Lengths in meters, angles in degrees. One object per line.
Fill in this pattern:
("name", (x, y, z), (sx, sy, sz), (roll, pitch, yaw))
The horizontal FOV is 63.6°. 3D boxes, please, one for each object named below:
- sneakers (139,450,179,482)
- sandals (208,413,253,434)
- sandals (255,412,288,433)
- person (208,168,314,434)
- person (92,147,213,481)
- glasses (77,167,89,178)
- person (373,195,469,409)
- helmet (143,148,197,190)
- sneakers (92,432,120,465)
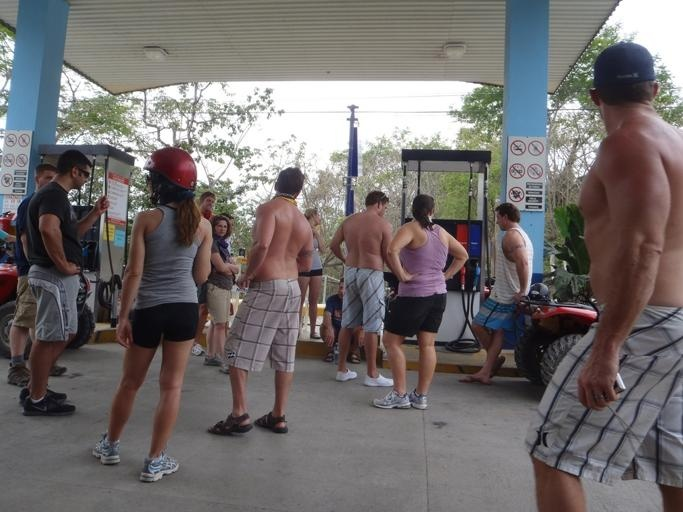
("sneakers", (-1.121, 1.302, 3.446), (0.096, 0.138, 0.264), (3, 3, 26))
("sandals", (-0.873, 1.300, 4.335), (0.310, 0.145, 0.147), (1, -8, -9))
("sandals", (-0.560, 1.327, 4.482), (0.115, 0.118, 0.251), (5, 0, -42))
("person", (-0.595, 0.316, 4.471), (0.426, 2.075, 0.826), (3, 0, 39))
("person", (-1.155, 0.332, 3.506), (0.623, 1.955, 0.387), (2, 0, -24))
("glasses", (-2.177, -0.707, 4.661), (0.057, 0.083, 0.041), (-11, -6, 8))
("person", (0.756, 0.423, 5.360), (0.828, 2.071, 0.338), (2, 0, -18))
("helmet", (-1.067, -0.559, 3.623), (0.305, 0.260, 0.244), (34, 9, -3))
("sneakers", (-1.552, 1.259, 3.625), (0.103, 0.183, 0.271), (4, -3, -27))
